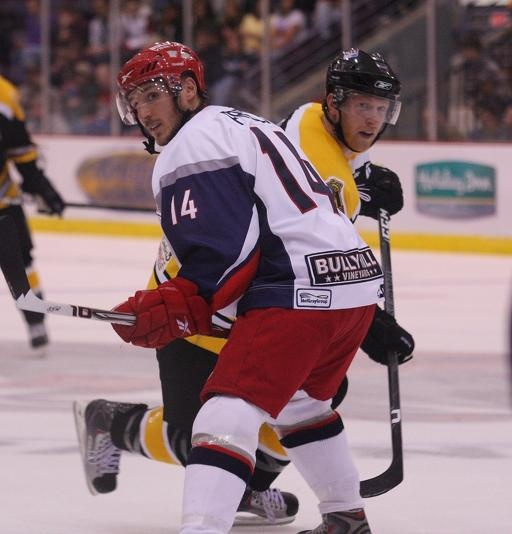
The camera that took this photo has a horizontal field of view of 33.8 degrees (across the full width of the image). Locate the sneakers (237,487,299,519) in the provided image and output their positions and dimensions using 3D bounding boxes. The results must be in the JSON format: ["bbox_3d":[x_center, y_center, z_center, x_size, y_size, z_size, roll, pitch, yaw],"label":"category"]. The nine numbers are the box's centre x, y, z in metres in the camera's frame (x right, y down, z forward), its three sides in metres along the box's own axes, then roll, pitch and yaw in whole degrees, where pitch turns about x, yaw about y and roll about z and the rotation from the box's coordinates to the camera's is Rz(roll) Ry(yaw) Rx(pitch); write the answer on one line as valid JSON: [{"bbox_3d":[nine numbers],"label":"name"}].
[{"bbox_3d":[0.030,0.608,2.198,0.212,0.079,0.057,-3,50,-7],"label":"sneakers"}]

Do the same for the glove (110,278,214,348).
[{"bbox_3d":[-0.180,0.095,1.636,0.259,0.072,0.144,-4,10,-18],"label":"glove"}]

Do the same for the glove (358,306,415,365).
[{"bbox_3d":[0.299,0.158,2.083,0.169,0.099,0.064,41,43,20],"label":"glove"}]
